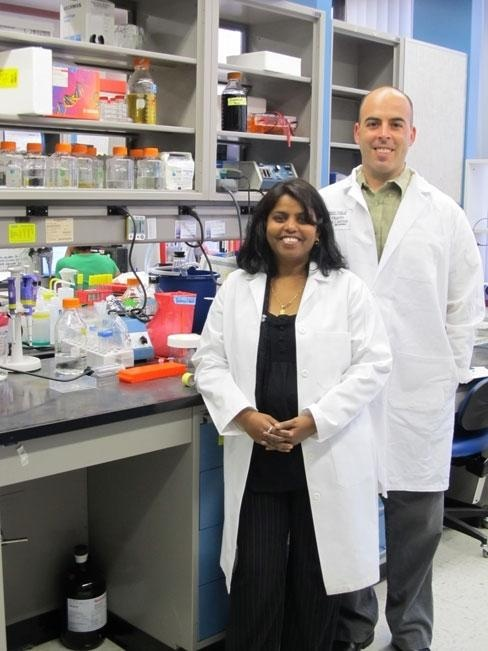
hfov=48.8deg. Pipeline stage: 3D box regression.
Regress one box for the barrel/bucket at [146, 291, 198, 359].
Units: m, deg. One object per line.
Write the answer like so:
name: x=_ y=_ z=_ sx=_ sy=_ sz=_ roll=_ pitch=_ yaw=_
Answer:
barrel/bucket: x=-0.236 y=-0.012 z=1.888 sx=0.186 sy=0.331 sz=0.200 roll=1 pitch=6 yaw=0

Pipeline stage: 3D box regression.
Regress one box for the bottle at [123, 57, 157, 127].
bottle: x=-0.356 y=-0.810 z=1.905 sx=0.099 sy=0.245 sz=0.099 roll=1 pitch=14 yaw=0

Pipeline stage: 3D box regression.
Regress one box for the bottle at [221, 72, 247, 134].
bottle: x=-0.036 y=-0.898 z=2.165 sx=0.111 sy=0.218 sz=0.112 roll=1 pitch=32 yaw=0

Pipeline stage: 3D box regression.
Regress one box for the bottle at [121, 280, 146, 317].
bottle: x=-0.413 y=-0.106 z=2.039 sx=0.094 sy=0.128 sz=0.264 roll=-2 pitch=9 yaw=-10

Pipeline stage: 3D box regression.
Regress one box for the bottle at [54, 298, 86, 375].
bottle: x=-0.521 y=0.021 z=1.622 sx=0.092 sy=0.206 sz=0.321 roll=-4 pitch=10 yaw=-17

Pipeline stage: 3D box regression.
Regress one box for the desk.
desk: x=-0.053 y=0.479 z=1.468 sx=0.501 sy=0.674 sz=0.943 roll=2 pitch=5 yaw=35

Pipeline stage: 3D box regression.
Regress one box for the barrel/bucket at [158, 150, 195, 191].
barrel/bucket: x=-0.240 y=-0.535 z=1.904 sx=0.151 sy=0.161 sz=0.111 roll=1 pitch=4 yaw=-16

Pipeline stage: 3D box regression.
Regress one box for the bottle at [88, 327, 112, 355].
bottle: x=-0.430 y=0.045 z=1.604 sx=0.082 sy=0.064 sz=0.055 roll=0 pitch=9 yaw=3

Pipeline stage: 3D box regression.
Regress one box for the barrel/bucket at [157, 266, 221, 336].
barrel/bucket: x=-0.218 y=-0.091 z=1.992 sx=0.220 sy=0.242 sz=0.226 roll=1 pitch=9 yaw=0

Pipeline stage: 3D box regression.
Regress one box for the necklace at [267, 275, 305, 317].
necklace: x=0.099 y=-0.082 z=1.323 sx=0.062 sy=0.028 sz=0.110 roll=-2 pitch=43 yaw=20
